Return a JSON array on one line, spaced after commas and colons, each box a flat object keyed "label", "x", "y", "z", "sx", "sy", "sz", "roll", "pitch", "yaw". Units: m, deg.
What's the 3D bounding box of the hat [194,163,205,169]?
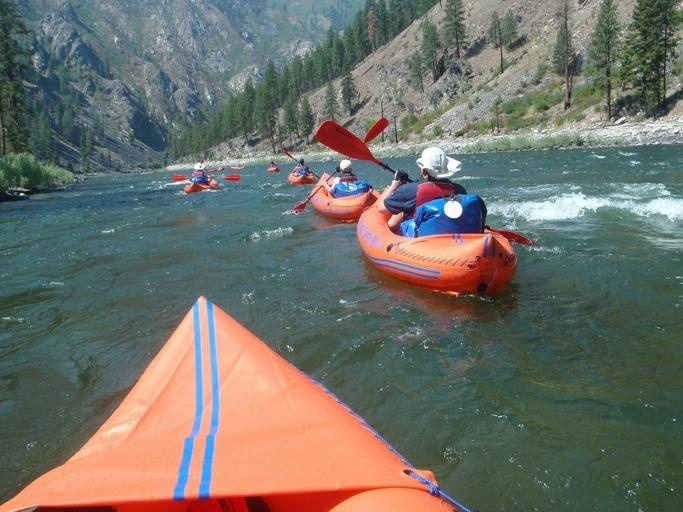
[{"label": "hat", "x": -5.646, "y": -3.589, "z": 21.145, "sx": 0.353, "sy": 0.231, "sz": 0.570, "roll": -7, "pitch": 17, "yaw": -17}]

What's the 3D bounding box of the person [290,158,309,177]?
[{"label": "person", "x": -1.573, "y": -3.427, "z": 20.765, "sx": 0.768, "sy": 0.469, "sz": 1.278, "roll": 1, "pitch": 31, "yaw": -4}]

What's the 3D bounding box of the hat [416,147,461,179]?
[{"label": "hat", "x": 1.424, "y": -1.330, "z": 7.619, "sx": 0.547, "sy": 0.492, "sz": 0.672, "roll": 4, "pitch": 17, "yaw": 20}]

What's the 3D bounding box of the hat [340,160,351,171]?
[{"label": "hat", "x": 0.108, "y": -2.206, "z": 12.763, "sx": 0.313, "sy": 0.235, "sz": 0.495, "roll": 13, "pitch": 10, "yaw": -1}]

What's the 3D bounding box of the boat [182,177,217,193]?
[{"label": "boat", "x": -5.583, "y": -2.772, "z": 20.943, "sx": 1.278, "sy": 0.411, "sz": 1.116, "roll": -10, "pitch": 18, "yaw": -25}]
